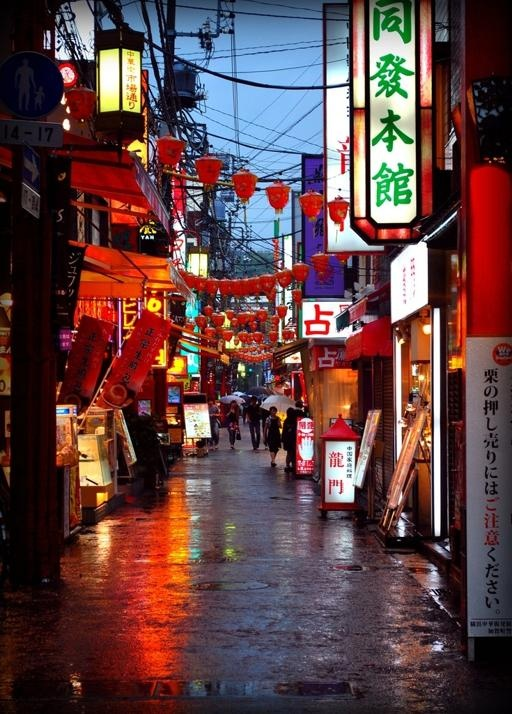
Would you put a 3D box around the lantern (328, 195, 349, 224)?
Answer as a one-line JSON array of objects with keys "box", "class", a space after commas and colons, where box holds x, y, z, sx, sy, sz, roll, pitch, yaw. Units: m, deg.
[{"box": [1.362, -2.459, 15.523, 0.381, 0.510, 0.385, 0, -3, 0], "class": "lantern"}]

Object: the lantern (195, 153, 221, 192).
[{"box": [-0.677, -2.644, 13.229, 0.385, 0.419, 0.400, -1, -3, -2], "class": "lantern"}]

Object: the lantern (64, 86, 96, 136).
[{"box": [-2.501, -3.634, 13.326, 0.417, 0.601, 0.398, 1, 12, -8], "class": "lantern"}]

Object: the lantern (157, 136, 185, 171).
[{"box": [-1.221, -2.910, 13.235, 0.439, 0.477, 0.452, -1, -2, 1], "class": "lantern"}]

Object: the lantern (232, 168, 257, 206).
[{"box": [-0.181, -2.619, 14.121, 0.377, 0.534, 0.724, 0, -3, 0], "class": "lantern"}]

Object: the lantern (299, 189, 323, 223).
[{"box": [0.959, -2.651, 16.227, 0.489, 0.626, 0.503, 0, -3, -1], "class": "lantern"}]
